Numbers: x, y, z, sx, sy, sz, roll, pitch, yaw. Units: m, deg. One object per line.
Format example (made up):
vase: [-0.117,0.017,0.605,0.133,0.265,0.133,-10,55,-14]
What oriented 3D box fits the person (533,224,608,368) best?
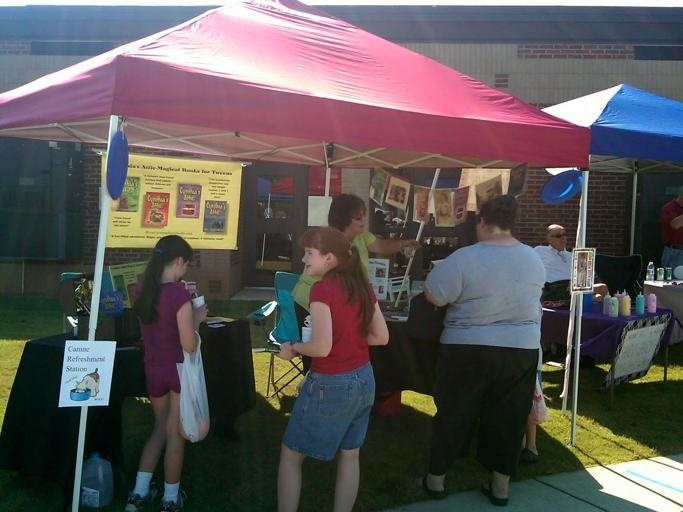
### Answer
person: [2.542,0.343,6.400,0.987,1.406,0.966,5,-5,-38]

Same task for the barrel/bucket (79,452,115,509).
barrel/bucket: [-1.799,1.639,4.164,0.222,0.378,0.134,-1,8,-16]

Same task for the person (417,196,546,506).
person: [1.043,0.695,4.263,0.838,2.295,0.392,3,8,15]

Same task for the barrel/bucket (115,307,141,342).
barrel/bucket: [-1.737,0.597,4.673,0.227,0.315,0.224,-3,-2,0]

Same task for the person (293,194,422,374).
person: [0.109,0.323,5.123,1.246,1.728,0.905,7,14,11]
